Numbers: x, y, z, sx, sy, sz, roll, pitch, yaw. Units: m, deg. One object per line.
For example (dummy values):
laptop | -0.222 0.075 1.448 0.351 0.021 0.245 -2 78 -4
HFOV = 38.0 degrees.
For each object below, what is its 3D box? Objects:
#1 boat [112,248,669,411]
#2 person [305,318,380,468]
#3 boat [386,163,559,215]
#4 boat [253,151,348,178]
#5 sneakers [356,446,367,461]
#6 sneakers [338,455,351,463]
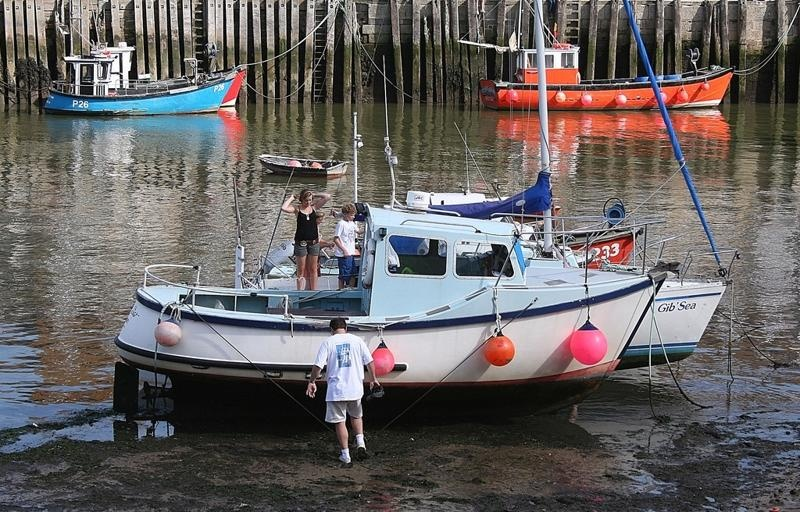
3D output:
boat | 0.075 1.498 23.042 10.255 2.806 3.873 -1 11 -1
person | -1.037 2.498 20.791 1.215 2.689 0.383 0 3 -4
boat | 1.749 -1.317 25.544 4.414 1.233 1.040 -2 6 7
boat | -3.069 -2.821 36.270 3.058 0.589 1.093 6 24 7
sneakers | -0.715 3.660 20.944 0.262 0.294 0.174 6 29 10
sneakers | -1.006 3.752 20.909 0.219 0.123 0.121 3 18 9
